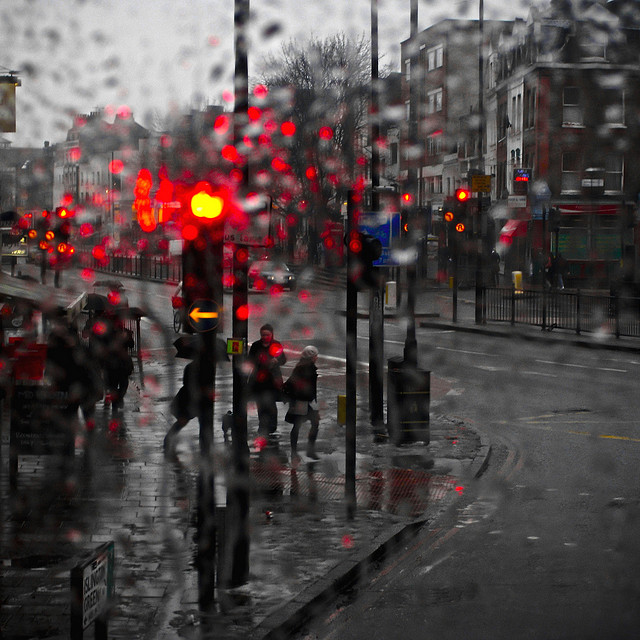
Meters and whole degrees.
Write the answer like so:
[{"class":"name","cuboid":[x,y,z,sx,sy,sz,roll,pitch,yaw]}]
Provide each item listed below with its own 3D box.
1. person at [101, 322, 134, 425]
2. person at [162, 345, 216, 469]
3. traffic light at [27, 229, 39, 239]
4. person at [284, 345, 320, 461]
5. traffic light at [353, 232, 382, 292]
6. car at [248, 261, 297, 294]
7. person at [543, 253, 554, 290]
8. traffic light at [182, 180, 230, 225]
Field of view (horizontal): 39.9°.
[{"class":"person","cuboid":[-3.319,0.813,14.372,0.466,1.529,0.690,0,2,-7]},{"class":"person","cuboid":[-1.720,1.062,12.045,0.478,2.019,0.836,-7,30,-34]},{"class":"traffic light","cuboid":[-13.022,-3.935,39.966,0.264,0.306,0.265,-11,-12,-43]},{"class":"person","cuboid":[-0.255,1.062,12.020,0.448,1.446,1.426,1,2,-1]},{"class":"traffic light","cuboid":[0.475,-0.600,9.045,0.361,0.598,0.351,0,2,-12]},{"class":"car","cuboid":[-2.502,-2.219,45.509,2.315,1.570,1.241,1,2,-2]},{"class":"person","cuboid":[10.904,-2.370,42.241,0.495,1.685,1.872,1,2,14]},{"class":"traffic light","cuboid":[-0.803,-0.840,6.266,0.303,0.337,0.608,0,3,-7]}]
